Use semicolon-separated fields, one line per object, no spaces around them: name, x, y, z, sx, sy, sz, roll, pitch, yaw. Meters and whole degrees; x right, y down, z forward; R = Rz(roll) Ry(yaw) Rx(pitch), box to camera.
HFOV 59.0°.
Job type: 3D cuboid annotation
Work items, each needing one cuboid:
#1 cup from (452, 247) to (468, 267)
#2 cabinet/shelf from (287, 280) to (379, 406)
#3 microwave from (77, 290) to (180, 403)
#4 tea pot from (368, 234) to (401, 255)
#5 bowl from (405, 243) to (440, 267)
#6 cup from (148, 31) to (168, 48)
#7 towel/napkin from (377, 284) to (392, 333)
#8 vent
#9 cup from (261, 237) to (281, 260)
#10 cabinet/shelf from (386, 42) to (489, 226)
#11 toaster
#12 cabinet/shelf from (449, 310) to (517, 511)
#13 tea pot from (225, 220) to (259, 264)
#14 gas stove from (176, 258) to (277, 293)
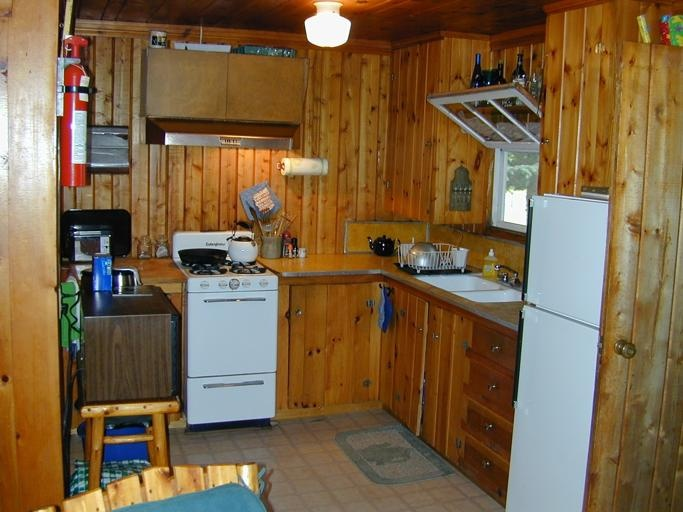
cup;0.922;0.015;4.725;0.109;0.157;0.159;5;12;16
cabinet/shelf;-0.146;0.615;5.006;0.751;1.048;0.622;0;6;-21
microwave;-0.902;0.420;2.772;0.362;0.469;0.535;0;10;-20
tea pot;0.352;-0.101;5.282;0.225;0.138;0.151;3;6;-5
bowl;0.632;-0.003;4.641;0.192;0.131;0.198;0;5;0
cup;-1.355;-1.610;4.478;0.117;0.121;0.097;-3;12;-20
towel/napkin;0.336;0.407;4.704;0.096;0.274;0.266;4;3;-3
vent;-0.898;-1.196;4.730;1.168;0.705;0.371;0;12;-12
cup;-0.574;-0.065;5.053;0.169;0.186;0.169;2;6;0
cabinet/shelf;0.697;-0.979;4.820;0.372;1.415;0.848;-4;12;-19
toaster;-1.839;-0.178;4.535;0.529;0.402;0.315;1;12;-30
cabinet/shelf;0.861;0.909;3.716;0.332;0.867;0.641;2;9;-5
tea pot;-0.757;-0.107;4.724;0.259;0.293;0.207;-3;5;3
gas stove;-0.841;0.148;4.487;0.659;0.144;0.451;-2;12;-18
